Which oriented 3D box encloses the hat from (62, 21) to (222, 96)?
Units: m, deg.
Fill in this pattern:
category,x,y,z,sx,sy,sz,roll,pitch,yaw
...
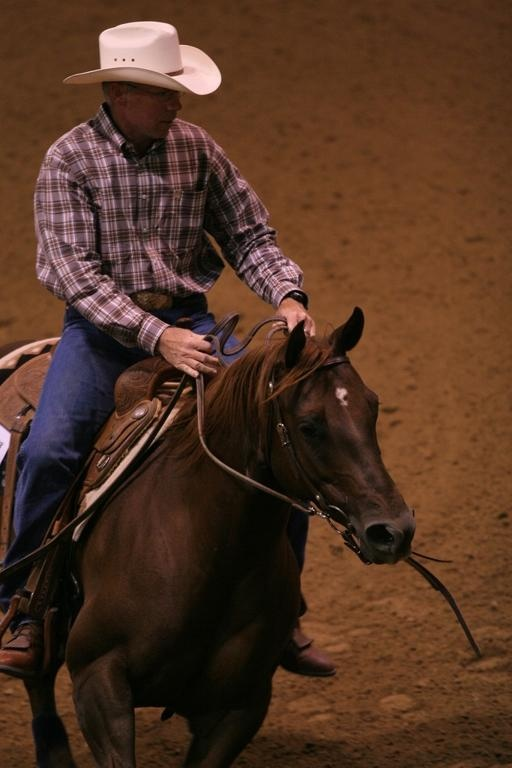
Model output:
category,x,y,z,sx,sy,sz,roll,pitch,yaw
hat,-0.249,-0.781,2.070,0.374,0.183,0.348,-3,9,-18
